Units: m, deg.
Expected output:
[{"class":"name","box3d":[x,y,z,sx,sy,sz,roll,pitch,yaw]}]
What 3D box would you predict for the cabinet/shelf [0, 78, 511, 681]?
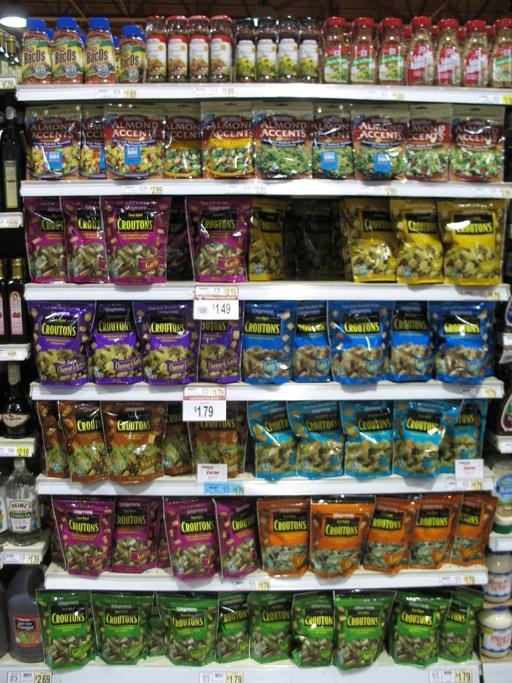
[{"class":"cabinet/shelf","box3d":[0.031,0.207,2.249,1.870,2.233,0.814,-6,22,-5]}]
